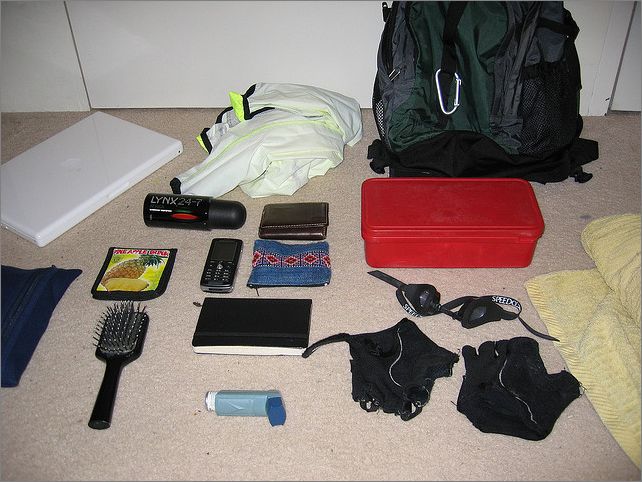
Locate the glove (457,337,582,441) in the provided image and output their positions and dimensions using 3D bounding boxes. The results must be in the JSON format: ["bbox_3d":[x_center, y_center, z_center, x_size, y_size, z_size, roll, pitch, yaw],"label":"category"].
[{"bbox_3d":[0.447,0.350,1.322,0.267,0.083,0.253,-29,44,-29],"label":"glove"}]

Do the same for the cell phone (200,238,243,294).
[{"bbox_3d":[-0.277,0.070,1.548,0.089,0.080,0.154,1,37,7],"label":"cell phone"}]

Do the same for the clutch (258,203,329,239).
[{"bbox_3d":[-0.076,-0.060,1.612,0.148,0.040,0.119,1,47,5],"label":"clutch"}]

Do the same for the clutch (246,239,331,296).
[{"bbox_3d":[-0.078,0.069,1.543,0.166,0.047,0.137,3,42,1],"label":"clutch"}]

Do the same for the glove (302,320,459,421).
[{"bbox_3d":[0.151,0.300,1.375,0.303,0.083,0.252,27,47,34],"label":"glove"}]
